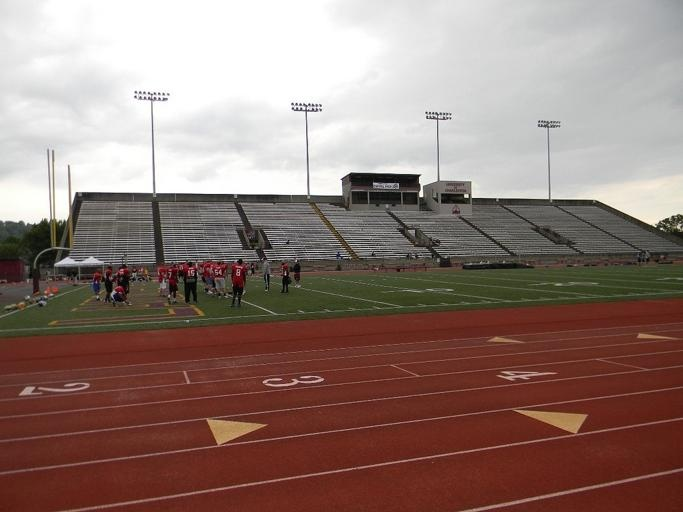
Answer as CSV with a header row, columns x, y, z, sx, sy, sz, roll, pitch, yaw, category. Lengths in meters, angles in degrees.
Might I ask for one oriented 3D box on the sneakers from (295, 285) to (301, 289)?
x,y,z,sx,sy,sz,roll,pitch,yaw,category
-2.282,1.591,25.118,0.372,0.243,0.121,-1,-33,-5,sneakers
